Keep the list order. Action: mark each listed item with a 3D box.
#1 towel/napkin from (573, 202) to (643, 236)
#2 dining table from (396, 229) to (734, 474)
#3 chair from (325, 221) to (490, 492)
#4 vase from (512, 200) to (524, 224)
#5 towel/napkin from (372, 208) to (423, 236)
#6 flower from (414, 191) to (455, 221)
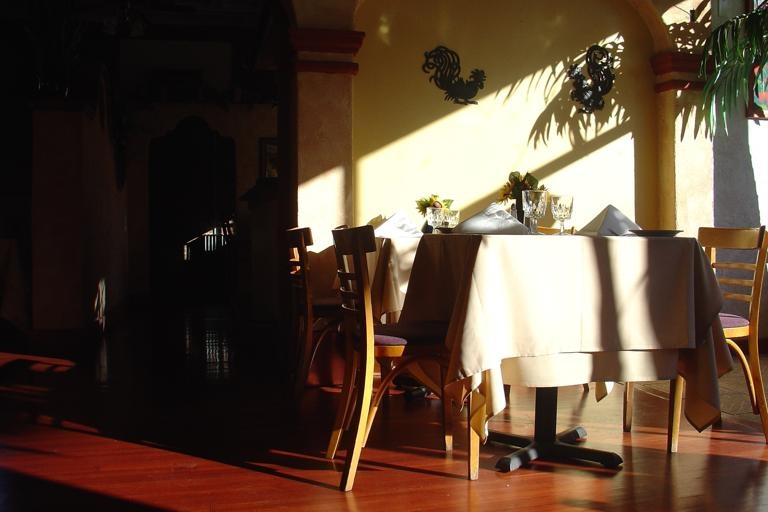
[{"bbox_3d":[1.842,-0.318,5.273,0.547,0.222,0.400,8,-11,-44],"label":"towel/napkin"},{"bbox_3d":[1.075,0.379,3.847,1.435,0.989,1.554,2,-4,-5],"label":"dining table"},{"bbox_3d":[0.089,0.563,3.920,0.807,1.472,0.849,-2,0,-15],"label":"chair"},{"bbox_3d":[0.930,-0.315,4.351,0.042,0.220,0.060,-10,-32,6],"label":"vase"},{"bbox_3d":[0.102,-0.271,5.057,0.305,0.123,0.241,-3,9,-12],"label":"towel/napkin"},{"bbox_3d":[0.409,-0.434,5.128,0.251,0.289,0.103,4,1,12],"label":"flower"}]
